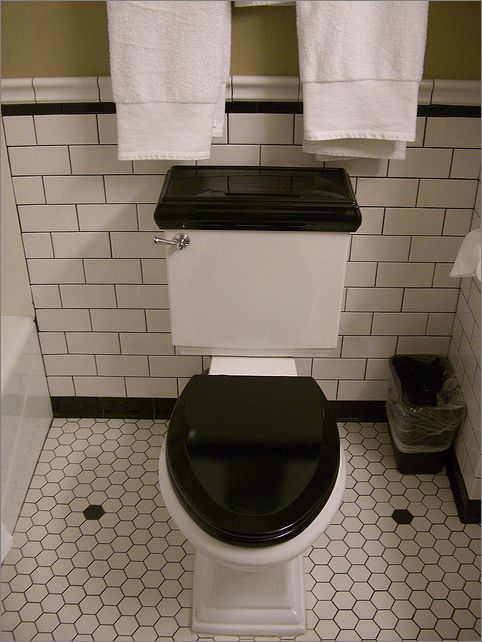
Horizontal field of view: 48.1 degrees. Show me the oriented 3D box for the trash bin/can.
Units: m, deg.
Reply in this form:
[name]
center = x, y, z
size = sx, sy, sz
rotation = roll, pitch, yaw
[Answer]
[trash bin/can]
center = 0.533, 0.268, 1.697
size = 0.230, 0.325, 0.337
rotation = 2, 31, 2
